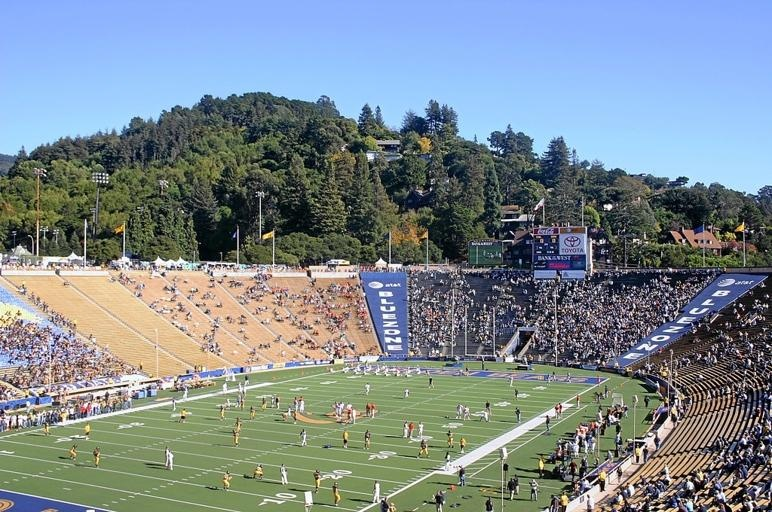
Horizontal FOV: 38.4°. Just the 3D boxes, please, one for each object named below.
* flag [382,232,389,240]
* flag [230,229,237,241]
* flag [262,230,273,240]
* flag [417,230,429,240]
[{"bbox_3d":[0.015,-3.587,195.626,0.353,1.161,1.367,-13,12,33],"label":"flag"},{"bbox_3d":[-24.801,-3.491,182.798,1.089,1.298,2.235,-24,3,-9],"label":"flag"},{"bbox_3d":[-18.441,-3.331,175.325,1.396,0.421,1.391,17,33,40],"label":"flag"},{"bbox_3d":[7.128,-3.912,202.740,2.185,1.412,2.128,-5,10,27],"label":"flag"}]
